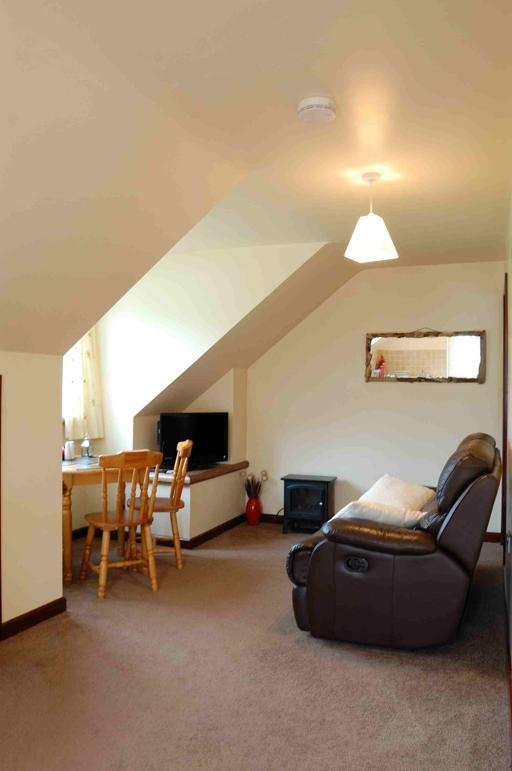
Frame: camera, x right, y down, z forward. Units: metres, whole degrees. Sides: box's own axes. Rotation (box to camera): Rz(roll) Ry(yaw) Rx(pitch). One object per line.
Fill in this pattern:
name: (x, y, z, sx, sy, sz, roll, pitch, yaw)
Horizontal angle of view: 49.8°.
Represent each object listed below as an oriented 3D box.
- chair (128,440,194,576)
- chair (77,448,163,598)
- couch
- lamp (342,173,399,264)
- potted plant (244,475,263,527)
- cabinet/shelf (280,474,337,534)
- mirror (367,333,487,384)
chair: (-0.764, 0.907, 4.109, 0.527, 0.944, 0.518, 1, 5, 6)
chair: (-0.910, 0.899, 3.705, 0.540, 0.926, 0.562, 3, -1, -2)
couch: (0.757, 0.767, 2.937, 0.956, 0.876, 0.974, 0, -7, 20)
lamp: (0.622, -0.921, 2.986, 0.289, 0.479, 0.289, 1, 7, 14)
potted plant: (-0.031, 1.181, 5.665, 0.167, 0.496, 0.258, 0, -3, 0)
cabinet/shelf: (0.499, 1.118, 5.455, 0.610, 0.741, 0.484, -2, -7, 21)
mirror: (1.583, -0.267, 5.214, 1.130, 0.537, 0.059, 0, 12, 16)
